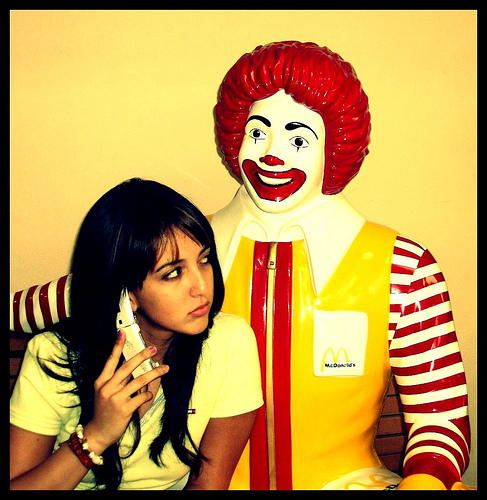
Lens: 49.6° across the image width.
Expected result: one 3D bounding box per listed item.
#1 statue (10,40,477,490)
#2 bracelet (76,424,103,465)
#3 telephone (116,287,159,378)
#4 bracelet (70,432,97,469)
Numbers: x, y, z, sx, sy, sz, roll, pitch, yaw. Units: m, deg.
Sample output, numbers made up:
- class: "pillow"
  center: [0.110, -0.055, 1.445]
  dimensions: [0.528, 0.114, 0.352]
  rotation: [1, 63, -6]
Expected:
- class: "statue"
  center: [0.062, 0.056, 1.585]
  dimensions: [1.101, 1.252, 0.689]
  rotation: [1, 10, 5]
- class: "bracelet"
  center: [-0.419, 0.517, 1.426]
  dimensions: [0.092, 0.034, 0.073]
  rotation: [56, -3, 48]
- class: "telephone"
  center: [-0.289, 0.232, 1.450]
  dimensions: [0.126, 0.245, 0.148]
  rotation: [3, -5, -17]
- class: "bracelet"
  center: [-0.429, 0.533, 1.428]
  dimensions: [0.026, 0.082, 0.074]
  rotation: [-24, -9, -6]
